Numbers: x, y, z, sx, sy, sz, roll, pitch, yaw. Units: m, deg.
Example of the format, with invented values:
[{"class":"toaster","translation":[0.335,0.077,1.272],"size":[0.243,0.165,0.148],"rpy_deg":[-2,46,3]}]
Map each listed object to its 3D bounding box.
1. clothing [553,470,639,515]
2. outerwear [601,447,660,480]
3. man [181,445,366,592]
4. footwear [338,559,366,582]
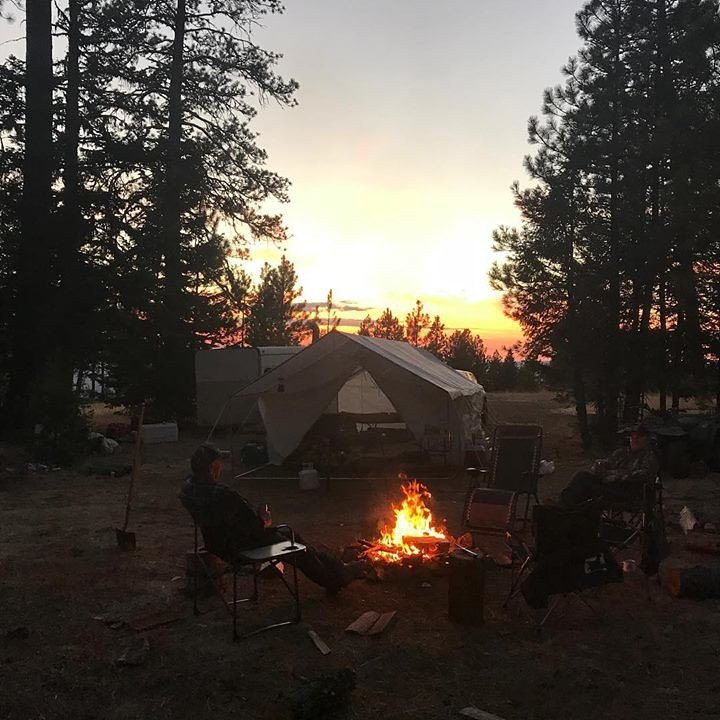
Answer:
[{"class":"clothing","translation":[2.483,1.368,7.617],"size":[0.732,0.411,0.818],"rpy_deg":[-4,-6,30]},{"class":"outerwear","translation":[3.029,1.191,8.258],"size":[0.397,0.206,0.405],"rpy_deg":[-23,7,-35]},{"class":"man","translation":[-0.845,1.436,6.632],"size":[1.434,1.728,0.807],"rpy_deg":[-11,6,-38]},{"class":"footwear","translation":[-0.078,1.972,6.893],"size":[0.200,0.122,0.301],"rpy_deg":[1,2,6]}]
